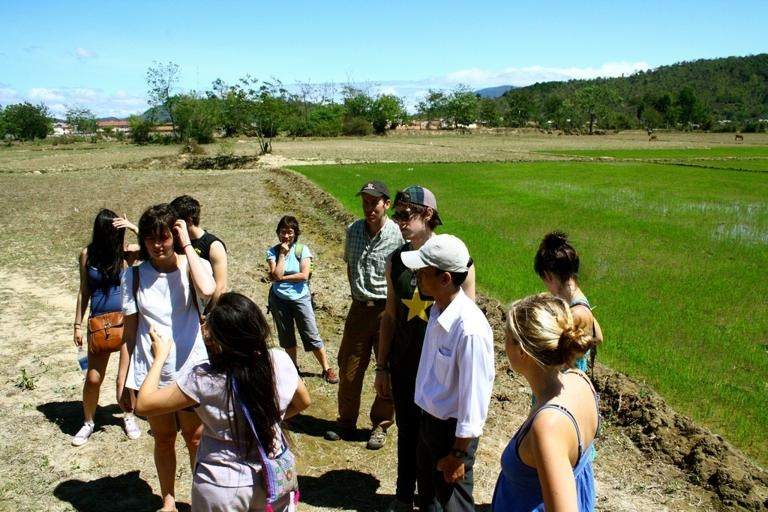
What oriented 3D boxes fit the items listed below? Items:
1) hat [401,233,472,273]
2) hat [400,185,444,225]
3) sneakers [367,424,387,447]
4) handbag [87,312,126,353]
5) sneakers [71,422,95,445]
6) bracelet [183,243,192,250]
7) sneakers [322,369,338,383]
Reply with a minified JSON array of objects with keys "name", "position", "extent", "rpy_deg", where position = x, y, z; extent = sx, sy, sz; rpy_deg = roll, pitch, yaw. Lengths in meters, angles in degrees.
[{"name":"hat","position":[0.568,-0.016,5.708],"extent":[0.576,0.300,0.390],"rpy_deg":[8,15,-3]},{"name":"hat","position":[0.460,-0.684,6.624],"extent":[0.535,0.301,0.388],"rpy_deg":[23,15,0]},{"name":"sneakers","position":[-0.096,2.567,7.866],"extent":[0.177,0.184,0.392],"rpy_deg":[0,-3,6]},{"name":"handbag","position":[-3.659,0.995,7.190],"extent":[0.578,0.575,0.256],"rpy_deg":[-5,-4,-18]},{"name":"sneakers","position":[-4.090,2.369,7.486],"extent":[0.142,0.152,0.389],"rpy_deg":[30,16,-14]},{"name":"bracelet","position":[-2.260,-0.105,6.225],"extent":[0.105,0.062,0.055],"rpy_deg":[5,15,20]},{"name":"sneakers","position":[-0.916,2.025,9.391],"extent":[0.151,0.152,0.323],"rpy_deg":[-11,13,-36]}]
